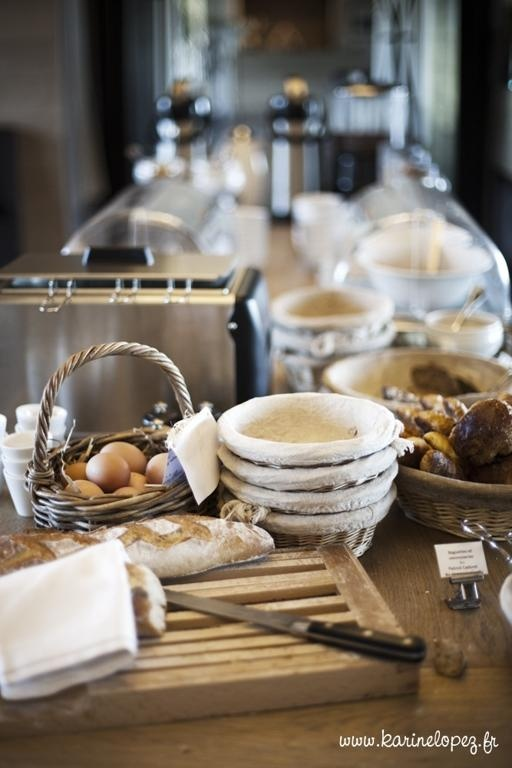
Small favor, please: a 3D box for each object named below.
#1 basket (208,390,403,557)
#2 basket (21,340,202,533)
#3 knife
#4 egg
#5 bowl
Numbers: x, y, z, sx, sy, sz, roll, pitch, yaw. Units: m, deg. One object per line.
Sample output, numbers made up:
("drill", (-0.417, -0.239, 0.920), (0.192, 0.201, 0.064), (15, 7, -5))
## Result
("basket", (0.037, 0.040, 0.578), (0.151, 0.098, 0.136), (-8, 15, -26))
("basket", (-0.095, 0.016, 0.607), (0.184, 0.164, 0.134), (-11, 26, -23))
("knife", (0.015, 0.150, 0.423), (0.139, 0.007, 0.020), (9, -22, 21))
("egg", (-0.128, 0.074, 0.595), (0.068, 0.029, 0.049), (2, 35, -1))
("bowl", (0.155, -0.125, 1.052), (0.278, 0.294, 0.276), (0, 31, 0))
